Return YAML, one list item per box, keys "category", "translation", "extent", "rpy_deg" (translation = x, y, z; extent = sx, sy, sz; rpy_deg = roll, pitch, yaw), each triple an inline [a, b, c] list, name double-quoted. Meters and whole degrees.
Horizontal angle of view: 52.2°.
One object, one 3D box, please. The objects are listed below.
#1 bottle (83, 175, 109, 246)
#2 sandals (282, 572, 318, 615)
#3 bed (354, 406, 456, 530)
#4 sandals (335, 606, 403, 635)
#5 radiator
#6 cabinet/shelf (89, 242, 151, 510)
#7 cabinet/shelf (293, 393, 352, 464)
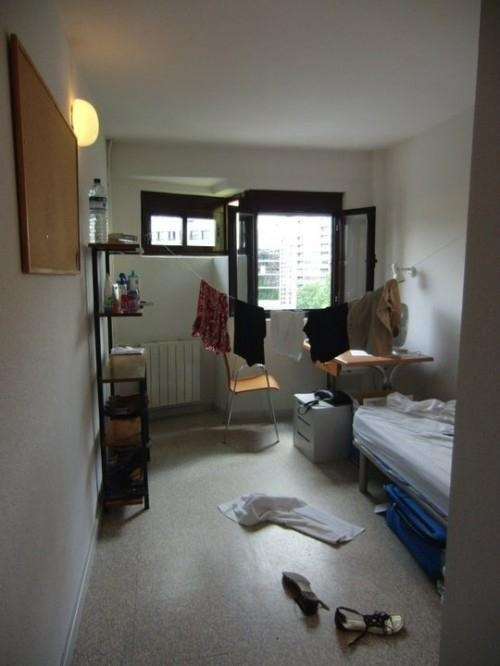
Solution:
- category: "bottle"
  translation: [-0.766, -0.606, 2.543]
  extent: [0.092, 0.328, 0.279]
  rpy_deg: [-2, 8, -18]
- category: "sandals"
  translation: [0.201, 1.015, 2.033]
  extent: [0.113, 0.054, 0.261]
  rpy_deg: [-1, 9, -12]
- category: "bed"
  translation: [0.737, 0.592, 2.427]
  extent: [0.420, 0.121, 0.443]
  rpy_deg: [1, 13, -29]
- category: "sandals"
  translation: [0.437, 1.013, 1.855]
  extent: [0.181, 0.080, 0.103]
  rpy_deg: [-4, 8, 12]
- category: "radiator"
  translation: [-0.674, 0.321, 4.198]
  extent: [0.467, 0.579, 0.056]
  rpy_deg: [-3, 3, -26]
- category: "cabinet/shelf"
  translation: [-0.763, 0.184, 3.086]
  extent: [0.300, 1.416, 1.127]
  rpy_deg: [-1, 8, -13]
- category: "cabinet/shelf"
  translation: [0.478, 0.593, 3.628]
  extent: [0.337, 0.562, 0.517]
  rpy_deg: [1, 4, -9]
